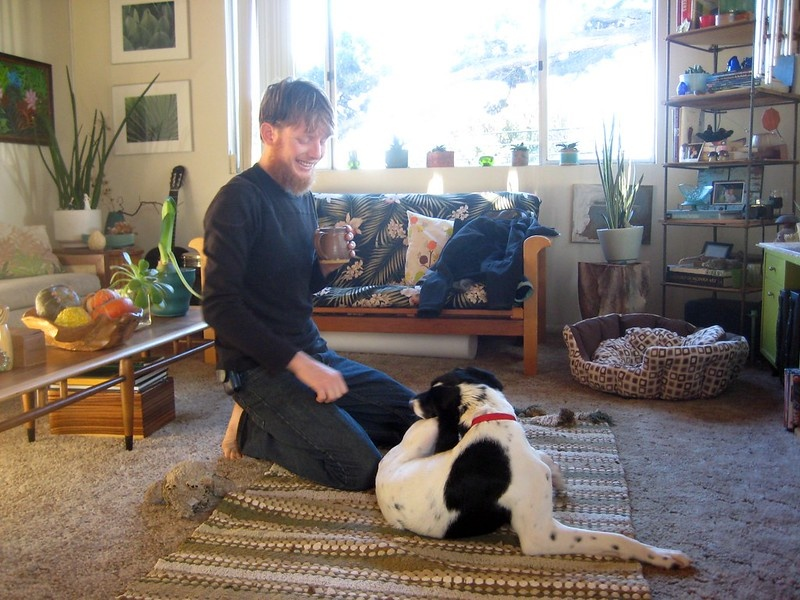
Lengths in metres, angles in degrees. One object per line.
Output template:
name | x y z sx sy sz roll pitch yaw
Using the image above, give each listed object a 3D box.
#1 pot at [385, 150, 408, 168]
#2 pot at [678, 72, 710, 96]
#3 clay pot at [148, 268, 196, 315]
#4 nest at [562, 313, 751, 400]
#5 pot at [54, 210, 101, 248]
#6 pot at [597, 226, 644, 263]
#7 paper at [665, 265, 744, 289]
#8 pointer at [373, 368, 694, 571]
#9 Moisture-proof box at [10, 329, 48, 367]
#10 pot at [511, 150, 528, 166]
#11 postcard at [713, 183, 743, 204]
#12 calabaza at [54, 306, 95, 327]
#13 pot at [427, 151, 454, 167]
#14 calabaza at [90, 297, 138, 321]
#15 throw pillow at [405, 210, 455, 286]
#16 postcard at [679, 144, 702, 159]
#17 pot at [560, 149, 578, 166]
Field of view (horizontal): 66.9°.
pot | -0.028 -1.112 4.833 0.237 0.169 0.123 4 21 8
pot | 1.937 -1.423 3.982 0.158 0.119 0.162 0 -2 0
clay pot | -1.125 -0.033 3.045 0.197 0.196 0.220 0 1 -2
nest | 1.339 0.206 3.434 0.919 0.429 0.877 0 9 8
pot | -2.580 -0.566 4.860 0.292 0.211 0.292 1 6 0
pot | 1.454 -0.351 4.037 0.252 0.191 0.254 -2 2 0
paper | 1.963 -0.147 3.940 0.447 0.127 0.148 7 16 31
pointer | 0.349 0.504 1.892 0.584 0.426 1.075 -12 9 -31
Moisture-proof box | -1.385 0.175 2.281 0.131 0.129 0.134 0 4 11
pot | 0.914 -1.065 4.605 0.115 0.108 0.115 1 7 0
postcard | 2.177 -0.700 4.003 0.158 0.134 0.016 -1 -7 35
calabaza | -1.319 0.070 2.437 0.135 0.070 0.088 -7 15 -23
pot | 0.320 -1.114 4.715 0.148 0.093 0.149 0 24 0
calabaza | -1.167 0.041 2.462 0.113 0.062 0.110 -13 4 8
throw pillow | 0.197 -0.353 4.095 0.328 0.459 0.310 2 13 1
postcard | 1.946 -0.985 4.041 0.008 0.108 0.108 -3 15 -24
pot | 1.265 -1.056 4.513 0.111 0.082 0.110 0 18 0
